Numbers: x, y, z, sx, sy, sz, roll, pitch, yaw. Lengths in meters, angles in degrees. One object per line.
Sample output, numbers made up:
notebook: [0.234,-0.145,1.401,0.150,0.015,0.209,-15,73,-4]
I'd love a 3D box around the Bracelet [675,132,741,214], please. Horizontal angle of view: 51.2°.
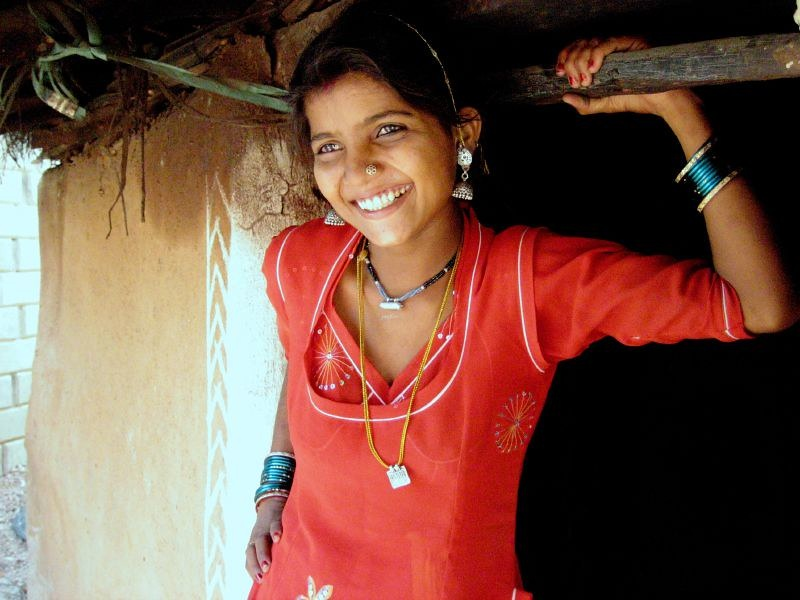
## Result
Bracelet: [0.959,-0.427,2.760,0.169,0.245,0.230,35,14,8]

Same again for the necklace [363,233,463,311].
necklace: [0.009,-0.086,3.017,0.216,0.249,0.034,11,-7,33]

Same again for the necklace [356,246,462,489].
necklace: [0.045,0.264,2.895,0.259,0.760,0.779,4,8,7]
